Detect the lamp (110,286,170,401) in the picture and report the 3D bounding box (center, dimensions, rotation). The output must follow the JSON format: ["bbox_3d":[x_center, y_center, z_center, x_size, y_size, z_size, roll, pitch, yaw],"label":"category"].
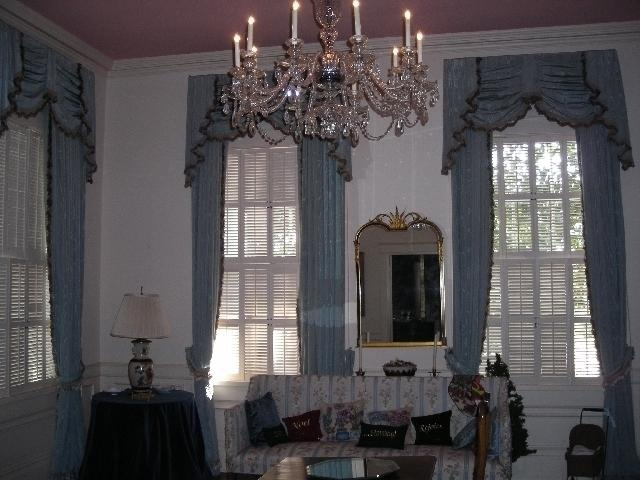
[{"bbox_3d":[-1.793,1.031,7.389,0.503,1.108,0.661,-2,-6,12],"label":"lamp"}]

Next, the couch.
[{"bbox_3d":[0.302,1.804,7.124,2.358,0.930,0.982,-3,-6,12],"label":"couch"}]

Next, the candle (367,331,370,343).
[{"bbox_3d":[0.518,1.051,7.776,0.036,0.120,0.009,-2,-5,9],"label":"candle"}]

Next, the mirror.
[{"bbox_3d":[0.896,0.452,7.785,1.298,2.248,0.151,0,-4,3],"label":"mirror"}]
